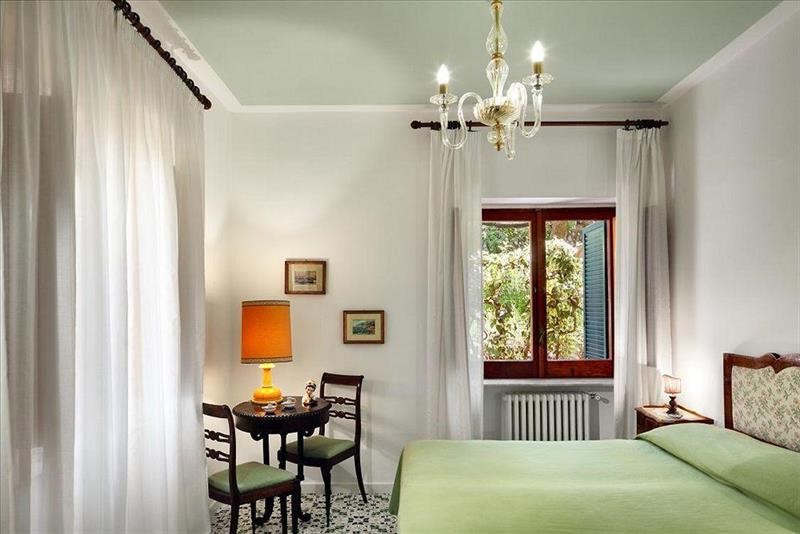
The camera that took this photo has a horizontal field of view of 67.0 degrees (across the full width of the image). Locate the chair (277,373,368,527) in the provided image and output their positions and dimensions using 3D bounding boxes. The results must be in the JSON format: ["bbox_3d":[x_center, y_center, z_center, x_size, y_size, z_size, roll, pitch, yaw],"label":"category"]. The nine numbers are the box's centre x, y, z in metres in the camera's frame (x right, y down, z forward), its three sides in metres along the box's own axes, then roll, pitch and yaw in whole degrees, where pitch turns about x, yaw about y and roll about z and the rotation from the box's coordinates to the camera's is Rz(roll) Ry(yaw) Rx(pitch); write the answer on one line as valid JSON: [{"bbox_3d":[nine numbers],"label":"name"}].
[{"bbox_3d":[-0.718,1.571,5.350,0.635,1.197,0.664,-2,-4,31],"label":"chair"}]

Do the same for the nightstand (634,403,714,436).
[{"bbox_3d":[2.214,1.268,5.086,0.557,0.249,0.540,3,0,-12],"label":"nightstand"}]

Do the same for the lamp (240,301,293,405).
[{"bbox_3d":[-1.154,0.700,5.169,0.406,0.878,0.392,3,0,-26],"label":"lamp"}]

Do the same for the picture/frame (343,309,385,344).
[{"bbox_3d":[-0.336,0.562,5.576,0.291,0.251,0.022,0,-6,-2],"label":"picture/frame"}]

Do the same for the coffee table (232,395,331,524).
[{"bbox_3d":[-0.923,1.594,5.154,0.891,1.006,0.897,-4,-5,40],"label":"coffee table"}]
